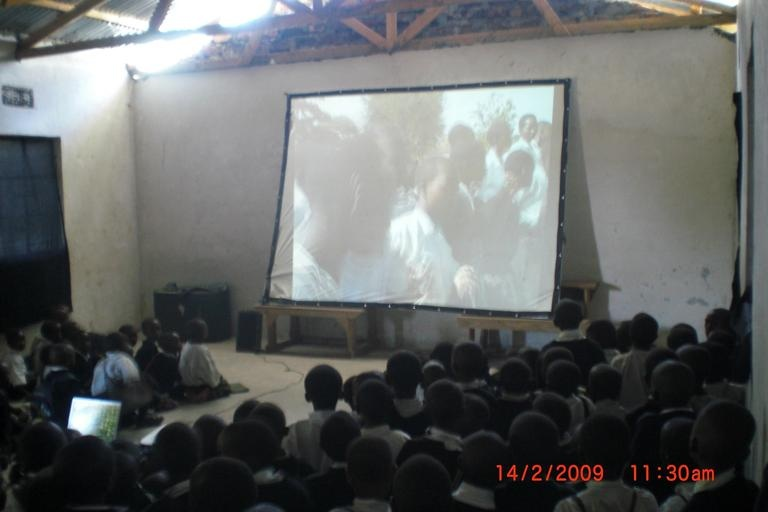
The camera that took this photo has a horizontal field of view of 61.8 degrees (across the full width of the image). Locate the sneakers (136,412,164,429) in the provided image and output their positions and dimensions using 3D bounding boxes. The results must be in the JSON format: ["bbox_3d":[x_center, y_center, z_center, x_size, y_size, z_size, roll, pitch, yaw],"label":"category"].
[{"bbox_3d":[-2.384,1.664,6.502,0.303,0.137,0.113,0,6,-7],"label":"sneakers"}]

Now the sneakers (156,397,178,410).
[{"bbox_3d":[-2.306,1.544,6.781,0.164,0.118,0.101,-3,5,-16],"label":"sneakers"}]
